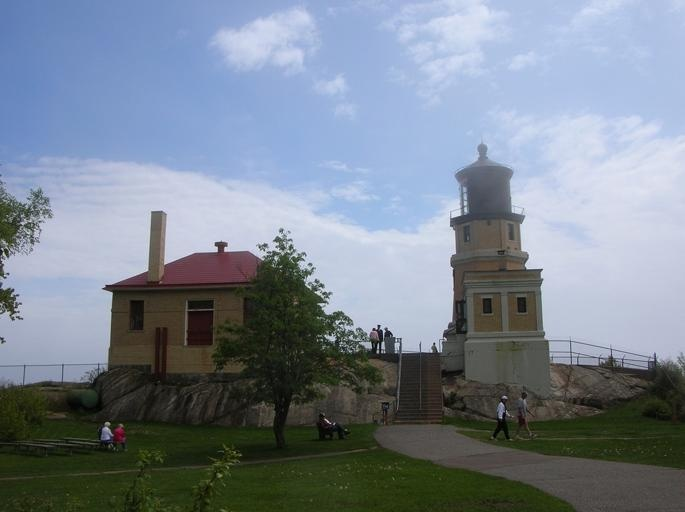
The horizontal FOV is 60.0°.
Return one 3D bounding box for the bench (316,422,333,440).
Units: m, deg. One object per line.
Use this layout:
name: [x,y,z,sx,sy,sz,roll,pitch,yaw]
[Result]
bench: [-0.877,9.343,31.856,0.901,1.144,0.836,-3,-4,4]
